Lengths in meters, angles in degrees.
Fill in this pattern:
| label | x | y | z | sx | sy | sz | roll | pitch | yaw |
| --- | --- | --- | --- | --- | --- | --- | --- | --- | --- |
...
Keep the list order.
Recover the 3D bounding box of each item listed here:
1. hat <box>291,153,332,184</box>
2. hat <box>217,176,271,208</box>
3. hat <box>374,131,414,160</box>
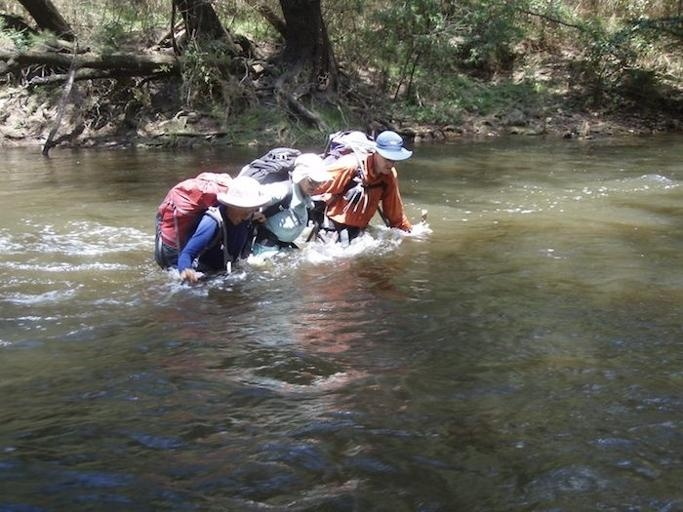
| label | x | y | z | sx | sy | sz | roll | pitch | yaw |
| --- | --- | --- | --- | --- | --- | --- | --- | --- | --- |
| hat | -0.378 | -1.014 | 8.404 | 0.426 | 0.186 | 0.467 | 1 | 4 | -18 |
| hat | -1.029 | -0.657 | 7.520 | 0.513 | 0.297 | 0.327 | -2 | 10 | -5 |
| hat | 0.588 | -1.325 | 8.750 | 0.418 | 0.355 | 0.482 | -1 | 10 | 2 |
